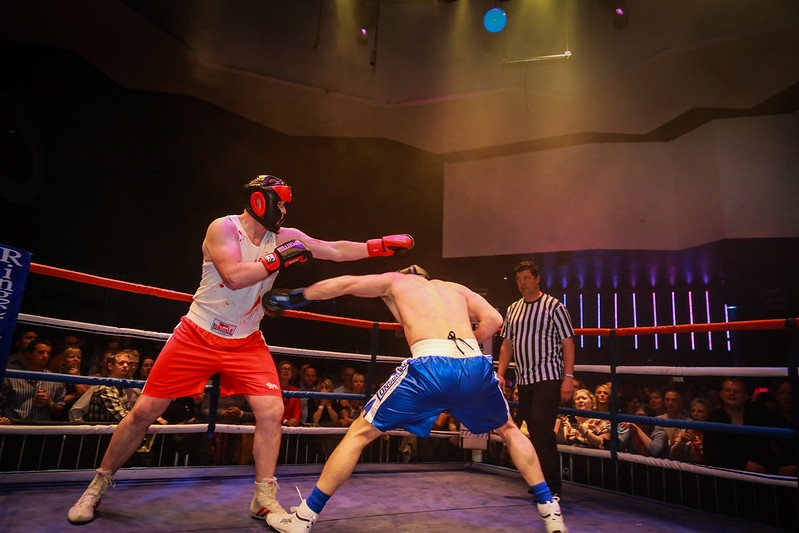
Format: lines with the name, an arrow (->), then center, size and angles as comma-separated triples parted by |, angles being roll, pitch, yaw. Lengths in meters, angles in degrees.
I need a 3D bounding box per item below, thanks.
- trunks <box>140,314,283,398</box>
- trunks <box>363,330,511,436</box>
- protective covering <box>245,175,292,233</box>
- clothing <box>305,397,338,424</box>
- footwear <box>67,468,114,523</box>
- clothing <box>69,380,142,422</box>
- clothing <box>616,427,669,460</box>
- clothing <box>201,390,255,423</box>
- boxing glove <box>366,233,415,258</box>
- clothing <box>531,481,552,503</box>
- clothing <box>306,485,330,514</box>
trunks -> -1.677, 0.828, 4.893 | 1.042, 0.684, 0.390 | 7, -13, -10
trunks -> 0.321, 0.956, 4.504 | 1.461, 0.979, 0.684 | 0, -3, -5
protective covering -> -1.162, -0.558, 4.866 | 0.447, 0.500, 0.418 | -2, 2, -14
clothing -> -1.008, 1.860, 7.031 | 0.434, 0.232, 0.628 | -2, -29, -7
footwear -> -2.465, 1.850, 4.426 | 0.205, 0.394, 0.296 | -10, -19, 44
clothing -> -2.988, 1.387, 5.603 | 0.606, 0.285, 0.790 | 10, -5, -31
clothing -> 2.771, 1.975, 6.146 | 0.382, 0.169, 0.391 | 1, 7, 2
clothing -> -1.899, 1.668, 6.320 | 0.562, 0.208, 0.546 | 14, -25, -36
boxing glove -> -0.091, -0.191, 5.096 | 0.325, 0.131, 0.214 | -11, -5, -5
clothing -> 1.150, 1.820, 4.490 | 0.150, 0.228, 0.163 | -5, -10, 8
clothing -> -0.629, 1.792, 4.208 | 0.173, 0.205, 0.089 | 6, -14, -8
